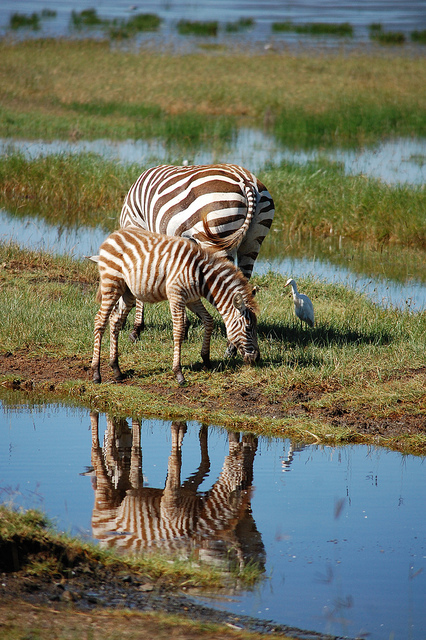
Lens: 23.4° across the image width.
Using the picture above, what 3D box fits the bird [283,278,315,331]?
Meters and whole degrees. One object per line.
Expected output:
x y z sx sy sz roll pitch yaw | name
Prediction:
1.081 -0.121 12.631 0.319 0.656 0.951 0 21 4 | bird

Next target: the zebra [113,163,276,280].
-0.451 -1.284 12.505 0.841 1.786 2.796 0 3 -32 | zebra

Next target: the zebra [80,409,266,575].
-0.341 1.463 8.037 1.156 0.328 0.780 15 2 -30 | zebra

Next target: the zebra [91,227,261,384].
-0.429 -0.130 10.897 1.849 1.773 0.535 5 21 13 | zebra
